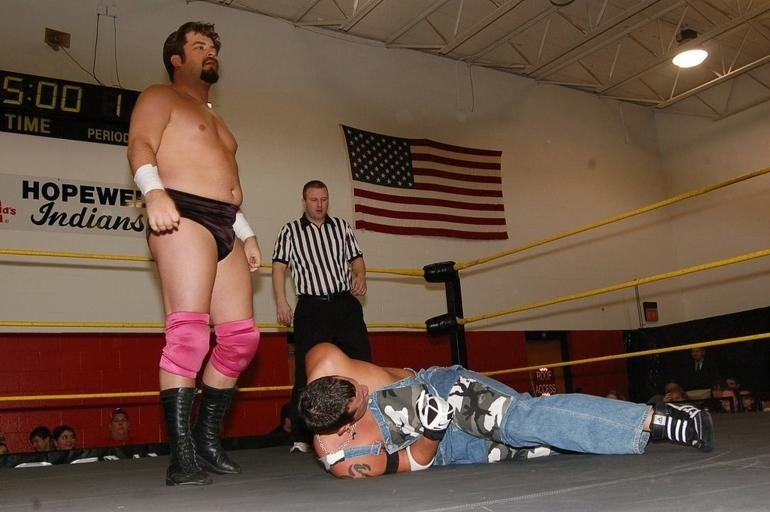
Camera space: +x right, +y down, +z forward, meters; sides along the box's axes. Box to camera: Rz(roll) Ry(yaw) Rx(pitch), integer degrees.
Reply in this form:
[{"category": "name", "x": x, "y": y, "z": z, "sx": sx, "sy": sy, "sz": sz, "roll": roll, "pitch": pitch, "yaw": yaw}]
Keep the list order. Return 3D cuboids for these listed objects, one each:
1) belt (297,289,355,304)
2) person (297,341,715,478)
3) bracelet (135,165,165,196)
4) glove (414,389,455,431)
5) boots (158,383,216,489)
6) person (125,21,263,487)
[{"category": "belt", "x": -0.425, "y": 0.294, "z": 4.339, "sx": 0.422, "sy": 0.074, "sz": 0.116, "roll": 0, "pitch": 9, "yaw": -14}, {"category": "person", "x": 0.642, "y": 0.883, "z": 3.323, "sx": 2.142, "sy": 0.859, "sz": 0.762, "roll": 2, "pitch": -43, "yaw": 4}, {"category": "bracelet", "x": -1.181, "y": -0.367, "z": 2.968, "sx": 0.133, "sy": 0.143, "sz": 0.161, "roll": -14, "pitch": -16, "yaw": -24}, {"category": "glove", "x": 0.254, "y": 0.783, "z": 3.004, "sx": 0.142, "sy": 0.172, "sz": 0.189, "roll": 0, "pitch": 32, "yaw": -40}, {"category": "boots", "x": -0.998, "y": 0.899, "z": 2.916, "sx": 0.197, "sy": 0.457, "sz": 0.294, "roll": -2, "pitch": 10, "yaw": -26}, {"category": "person", "x": -1.020, "y": -0.044, "z": 3.109, "sx": 0.646, "sy": 2.461, "sz": 0.871, "roll": 1, "pitch": 8, "yaw": -3}]
